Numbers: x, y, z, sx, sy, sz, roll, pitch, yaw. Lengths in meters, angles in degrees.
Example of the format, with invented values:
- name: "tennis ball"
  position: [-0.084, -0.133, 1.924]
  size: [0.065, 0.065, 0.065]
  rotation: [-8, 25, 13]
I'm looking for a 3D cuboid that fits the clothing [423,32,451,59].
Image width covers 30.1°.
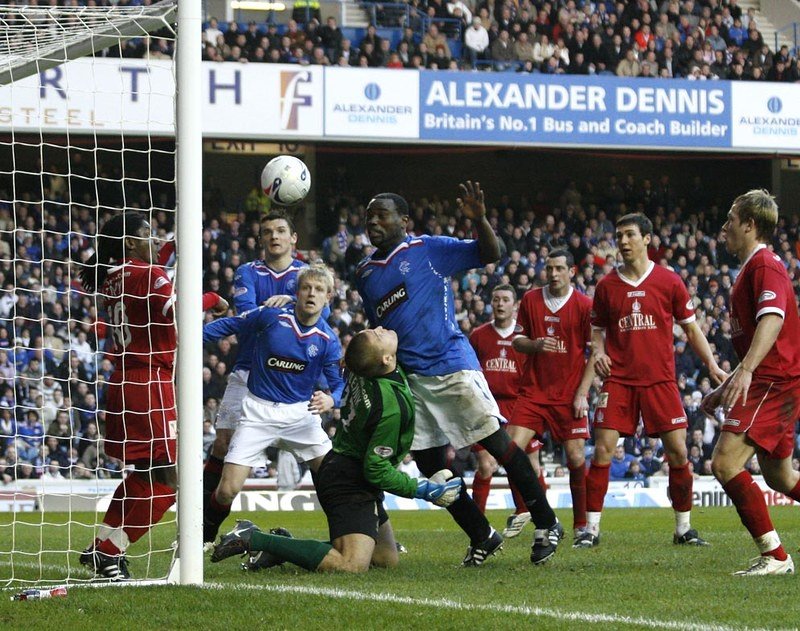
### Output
- name: "clothing"
  position: [0.703, -5.041, 27.534]
  size: [0.550, 0.645, 0.351]
  rotation: [0, -35, -8]

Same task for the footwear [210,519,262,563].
- name: "footwear"
  position: [-1.547, 2.130, 13.940]
  size: [0.264, 0.519, 0.281]
  rotation: [46, -4, -13]

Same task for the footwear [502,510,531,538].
- name: "footwear"
  position: [1.347, 2.355, 16.765]
  size: [0.273, 0.270, 0.638]
  rotation: [-3, 0, 27]

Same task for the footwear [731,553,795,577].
- name: "footwear"
  position: [3.363, 2.319, 13.620]
  size: [0.618, 0.276, 0.228]
  rotation: [0, -10, -5]

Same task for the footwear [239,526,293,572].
- name: "footwear"
  position: [-1.267, 2.244, 14.179]
  size: [0.231, 0.336, 0.713]
  rotation: [-6, 5, 31]

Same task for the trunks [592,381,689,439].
- name: "trunks"
  position: [2.551, 0.997, 15.629]
  size: [0.803, 0.654, 0.328]
  rotation: [-2, -15, 10]

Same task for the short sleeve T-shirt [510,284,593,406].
- name: "short sleeve T-shirt"
  position: [1.711, 0.351, 16.350]
  size: [0.985, 1.619, 0.657]
  rotation: [5, -13, -2]

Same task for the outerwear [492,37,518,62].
- name: "outerwear"
  position: [2.008, -5.016, 27.836]
  size: [0.457, 0.534, 0.280]
  rotation: [0, -7, -18]

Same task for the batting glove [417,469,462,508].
- name: "batting glove"
  position: [0.381, 1.602, 13.729]
  size: [0.352, 0.309, 0.193]
  rotation: [-4, 11, 0]

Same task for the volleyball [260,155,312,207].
- name: "volleyball"
  position: [-1.199, -1.457, 15.771]
  size: [0.502, 0.525, 0.285]
  rotation: [-3, 0, -7]

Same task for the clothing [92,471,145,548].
- name: "clothing"
  position: [-2.616, 1.772, 14.015]
  size: [0.240, 0.938, 0.260]
  rotation: [29, -19, -14]

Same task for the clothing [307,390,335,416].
- name: "clothing"
  position: [-0.778, 0.927, 14.810]
  size: [0.325, 0.262, 0.211]
  rotation: [4, -14, 0]

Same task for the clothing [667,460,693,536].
- name: "clothing"
  position: [3.006, 1.944, 15.708]
  size: [0.235, 0.709, 0.238]
  rotation: [-2, 0, 11]

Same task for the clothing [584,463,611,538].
- name: "clothing"
  position: [2.107, 1.930, 15.599]
  size: [0.252, 0.738, 0.179]
  rotation: [-2, 0, 7]

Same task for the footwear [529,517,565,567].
- name: "footwear"
  position: [1.415, 2.224, 14.254]
  size: [0.239, 0.571, 0.192]
  rotation: [42, -33, -26]
